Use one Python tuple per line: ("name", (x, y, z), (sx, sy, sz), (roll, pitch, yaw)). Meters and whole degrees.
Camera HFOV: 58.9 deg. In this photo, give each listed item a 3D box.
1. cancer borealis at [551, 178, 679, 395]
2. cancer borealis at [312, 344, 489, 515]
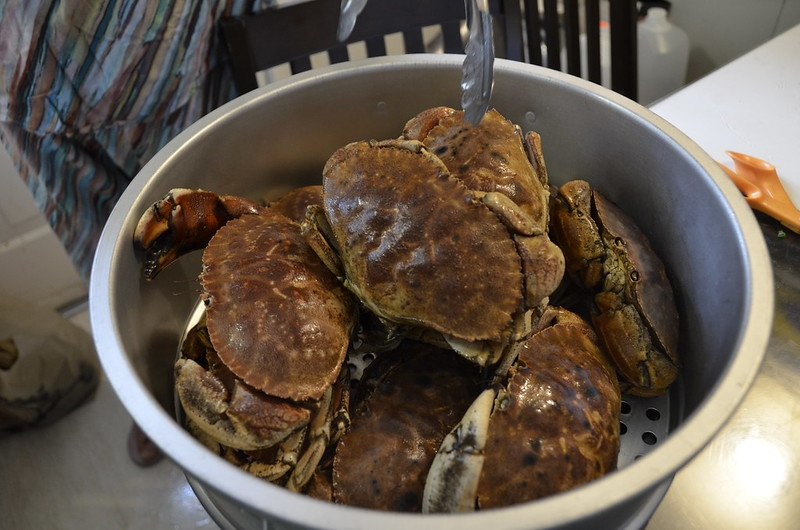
("cancer borealis", (0.526, 0.011, 1.698), (0.257, 0.161, 0.551), (-15, 75, -40))
("cancer borealis", (-0.013, 0.369, 1.547), (0.260, 0.115, 0.395), (19, 73, 25))
